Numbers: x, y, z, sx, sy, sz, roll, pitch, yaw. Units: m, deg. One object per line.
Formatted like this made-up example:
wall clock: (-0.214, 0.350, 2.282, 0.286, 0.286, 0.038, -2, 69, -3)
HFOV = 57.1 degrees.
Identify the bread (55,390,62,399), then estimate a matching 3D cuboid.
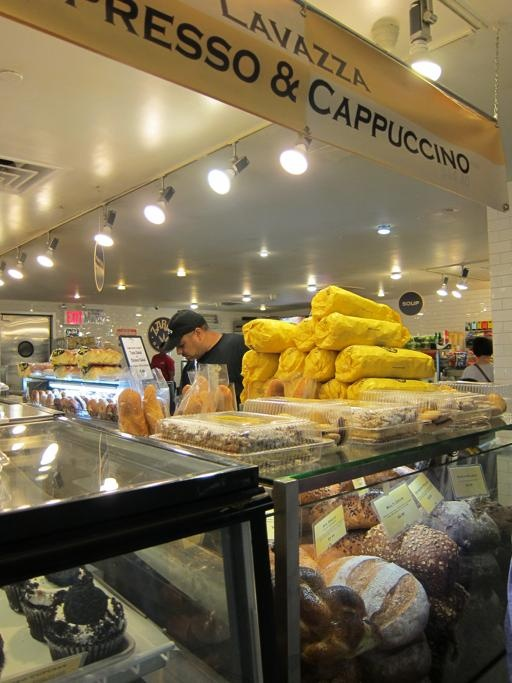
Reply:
bread: (-1.182, 0.320, 2.813, 0.053, 0.017, 0.052, 0, 12, -27)

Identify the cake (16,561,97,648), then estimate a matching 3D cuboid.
cake: (-0.233, 0.305, 0.542, 0.090, 0.091, 0.052, -7, 3, -26)

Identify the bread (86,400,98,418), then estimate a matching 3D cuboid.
bread: (-0.730, 0.302, 2.106, 0.042, 0.079, 0.081, -3, 5, -17)

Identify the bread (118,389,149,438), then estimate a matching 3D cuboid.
bread: (-0.353, 0.211, 1.356, 0.097, 0.189, 0.055, -4, -6, -22)

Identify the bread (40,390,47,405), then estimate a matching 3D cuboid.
bread: (-1.332, 0.359, 2.938, 0.034, 0.061, 0.031, 2, -4, 6)

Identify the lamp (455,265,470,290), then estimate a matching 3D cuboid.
lamp: (3.631, -1.132, 8.237, 0.239, 0.473, 0.228, 14, -23, 15)

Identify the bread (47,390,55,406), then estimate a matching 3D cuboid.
bread: (-1.222, 0.348, 2.804, 0.037, 0.075, 0.078, 11, -18, -36)

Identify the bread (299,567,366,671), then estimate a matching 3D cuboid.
bread: (0.137, 0.496, 0.849, 0.047, 0.138, 0.168, -3, 3, 44)

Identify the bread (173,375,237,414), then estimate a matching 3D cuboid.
bread: (-0.160, 0.165, 1.455, 0.163, 0.095, 0.111, 4, -9, -39)

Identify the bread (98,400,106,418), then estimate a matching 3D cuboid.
bread: (-0.650, 0.291, 1.986, 0.030, 0.060, 0.062, -2, 8, -7)

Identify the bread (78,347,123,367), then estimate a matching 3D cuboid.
bread: (-0.956, 0.107, 2.863, 0.242, 0.109, 0.222, 0, -5, -1)

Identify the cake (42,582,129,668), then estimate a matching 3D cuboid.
cake: (-0.195, 0.344, 0.604, 0.094, 0.105, 0.108, 0, -16, -8)

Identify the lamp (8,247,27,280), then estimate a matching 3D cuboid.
lamp: (-3.614, -1.195, 7.092, 0.287, 0.469, 0.312, 14, -19, -42)

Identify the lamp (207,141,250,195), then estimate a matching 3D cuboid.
lamp: (-0.201, -1.275, 3.401, 0.204, 0.367, 0.152, 10, -38, 13)

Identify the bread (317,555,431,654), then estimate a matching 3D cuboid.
bread: (0.231, 0.558, 0.988, 0.232, 0.120, 0.181, 23, 26, -4)

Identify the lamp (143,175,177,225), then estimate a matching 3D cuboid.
lamp: (-0.841, -1.254, 4.108, 0.210, 0.344, 0.187, 27, -41, -12)

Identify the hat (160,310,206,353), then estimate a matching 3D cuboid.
hat: (-0.492, -0.094, 3.124, 0.312, 0.188, 0.208, -34, 19, -14)

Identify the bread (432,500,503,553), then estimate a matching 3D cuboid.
bread: (0.586, 0.489, 1.237, 0.229, 0.162, 0.080, 27, -25, -32)

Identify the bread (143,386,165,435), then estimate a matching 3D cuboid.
bread: (-0.321, 0.215, 1.429, 0.040, 0.148, 0.100, -16, -18, 39)
